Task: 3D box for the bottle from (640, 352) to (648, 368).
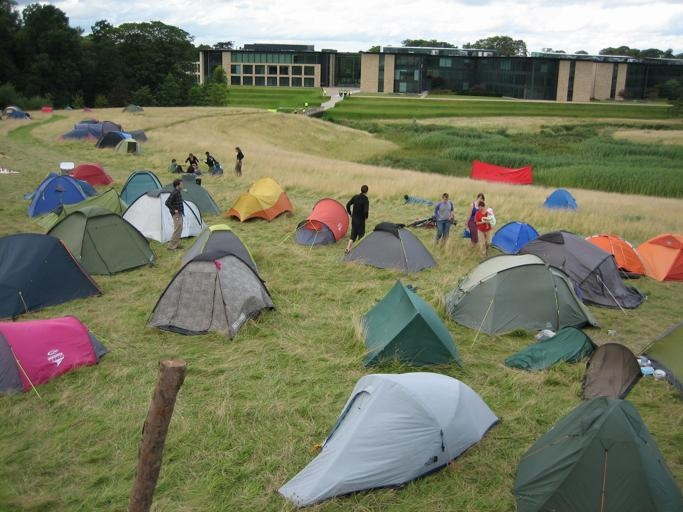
[{"bbox_3d":[6.795,2.327,14.125,0.196,0.177,0.354,7,15,24],"label":"bottle"}]
